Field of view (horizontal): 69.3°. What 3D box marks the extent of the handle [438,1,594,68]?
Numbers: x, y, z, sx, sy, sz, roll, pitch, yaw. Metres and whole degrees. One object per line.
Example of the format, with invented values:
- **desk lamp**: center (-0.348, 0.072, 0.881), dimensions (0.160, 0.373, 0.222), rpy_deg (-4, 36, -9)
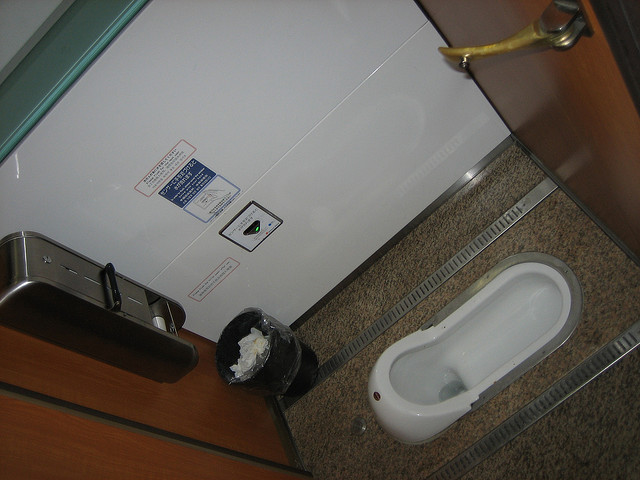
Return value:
- **handle**: center (0.482, -0.475, 1.120), dimensions (0.077, 0.283, 0.108), rpy_deg (12, 72, -45)
